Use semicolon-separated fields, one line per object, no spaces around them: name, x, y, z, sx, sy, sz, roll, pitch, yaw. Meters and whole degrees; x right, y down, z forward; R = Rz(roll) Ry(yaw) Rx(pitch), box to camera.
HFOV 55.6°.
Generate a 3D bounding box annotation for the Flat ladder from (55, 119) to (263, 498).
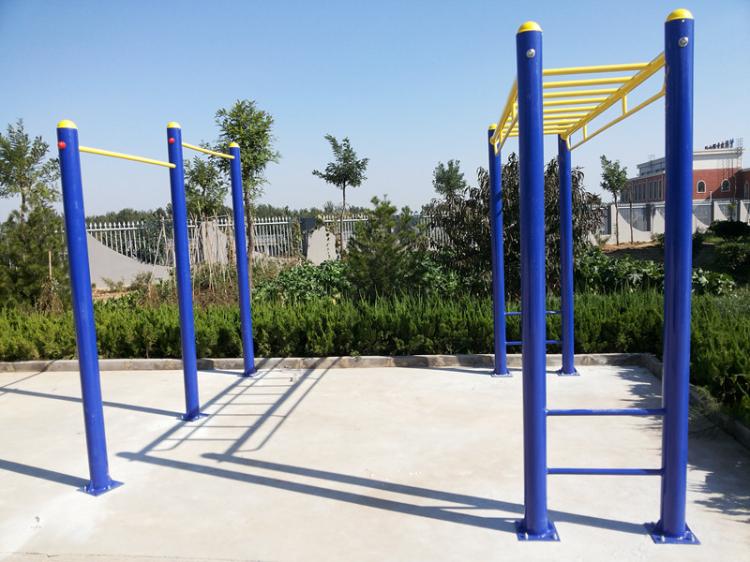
Flat ladder;-1.977;0.031;7.208;0.211;3.200;2.660;5;14;25
